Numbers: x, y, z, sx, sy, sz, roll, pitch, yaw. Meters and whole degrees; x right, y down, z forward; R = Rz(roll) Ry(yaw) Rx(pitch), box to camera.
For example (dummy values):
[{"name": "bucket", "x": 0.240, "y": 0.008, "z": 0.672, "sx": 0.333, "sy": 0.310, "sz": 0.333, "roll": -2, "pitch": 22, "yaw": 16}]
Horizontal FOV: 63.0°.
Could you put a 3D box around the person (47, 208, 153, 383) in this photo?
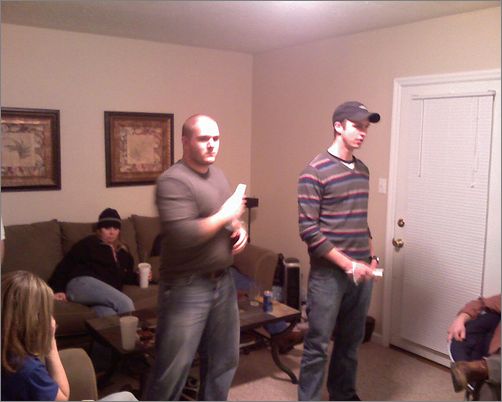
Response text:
[{"name": "person", "x": -1.251, "y": 0.744, "z": 3.541, "sx": 0.709, "sy": 1.452, "sz": 0.671, "roll": -4, "pitch": -22, "yaw": 17}]

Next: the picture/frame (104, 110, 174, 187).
[{"name": "picture/frame", "x": -1.183, "y": -0.540, "z": 4.173, "sx": 0.827, "sy": 0.932, "sz": 0.066, "roll": -5, "pitch": 8, "yaw": -39}]

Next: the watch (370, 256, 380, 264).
[{"name": "watch", "x": 0.818, "y": 0.397, "z": 2.714, "sx": 0.051, "sy": 0.041, "sz": 0.068, "roll": 6, "pitch": -8, "yaw": 8}]

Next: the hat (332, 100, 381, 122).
[{"name": "hat", "x": 0.633, "y": -0.522, "z": 2.482, "sx": 0.204, "sy": 0.108, "sz": 0.146, "roll": 9, "pitch": 12, "yaw": 41}]

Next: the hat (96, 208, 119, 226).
[{"name": "hat", "x": -1.278, "y": 0.154, "z": 3.688, "sx": 0.152, "sy": 0.174, "sz": 0.165, "roll": 5, "pitch": -3, "yaw": -22}]

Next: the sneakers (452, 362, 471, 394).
[{"name": "sneakers", "x": 1.003, "y": 0.842, "z": 1.966, "sx": 0.081, "sy": 0.061, "sz": 0.170, "roll": -5, "pitch": 41, "yaw": 33}]
